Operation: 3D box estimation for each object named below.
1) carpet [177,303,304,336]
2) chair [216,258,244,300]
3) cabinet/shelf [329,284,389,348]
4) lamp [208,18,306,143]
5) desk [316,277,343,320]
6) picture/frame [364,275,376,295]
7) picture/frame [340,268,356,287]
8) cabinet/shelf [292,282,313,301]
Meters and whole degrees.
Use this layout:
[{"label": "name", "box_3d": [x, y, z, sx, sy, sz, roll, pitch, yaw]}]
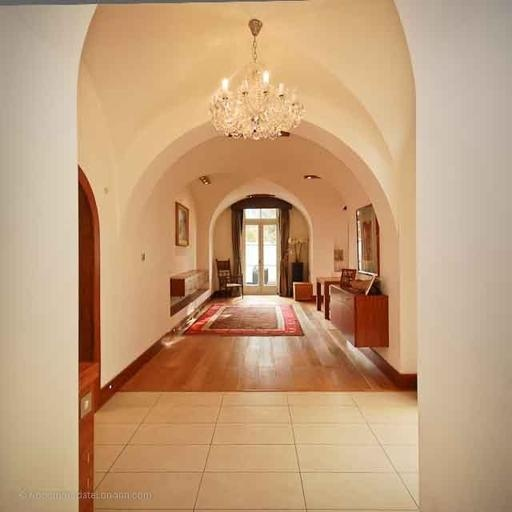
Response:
[{"label": "carpet", "box_3d": [-0.167, 1.211, 8.095, 1.984, 0.107, 3.295, -2, 1, 3]}, {"label": "chair", "box_3d": [-0.737, 0.598, 11.404, 0.652, 1.153, 0.766, -2, -1, 1]}, {"label": "cabinet/shelf", "box_3d": [1.175, 0.695, 4.997, 0.320, 0.599, 1.196, 1, 0, -4]}, {"label": "lamp", "box_3d": [0.002, -1.441, 3.574, 0.646, 0.932, 0.731, 1, 9, -8]}, {"label": "desk", "box_3d": [1.415, 1.019, 8.241, 0.504, 0.827, 1.120, 1, -1, 3]}, {"label": "picture/frame", "box_3d": [1.249, 0.311, 4.623, 0.043, 0.202, 0.200, 18, 7, 6]}, {"label": "picture/frame", "box_3d": [1.299, 0.301, 5.852, 0.189, 0.307, 0.030, 1, -15, 17]}, {"label": "cabinet/shelf", "box_3d": [1.217, 0.908, 10.817, 0.390, 0.463, 0.448, 0, -1, -1]}]
